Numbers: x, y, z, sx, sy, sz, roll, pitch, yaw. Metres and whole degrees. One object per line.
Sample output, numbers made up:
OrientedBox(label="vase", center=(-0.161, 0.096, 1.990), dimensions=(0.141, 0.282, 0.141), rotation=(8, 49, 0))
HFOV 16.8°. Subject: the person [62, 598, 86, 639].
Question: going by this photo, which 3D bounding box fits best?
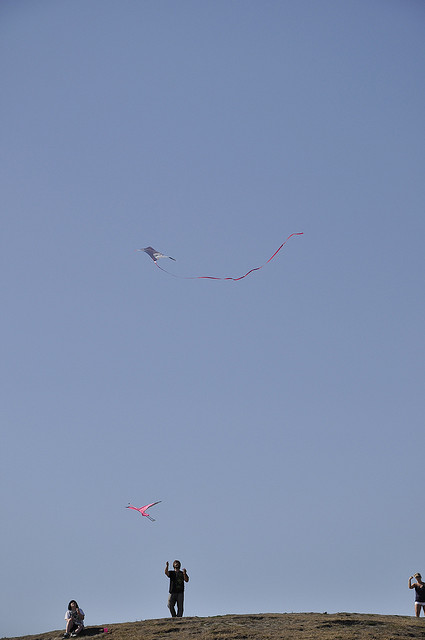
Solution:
OrientedBox(label="person", center=(-3.818, 8.271, 39.085), dimensions=(0.571, 1.159, 1.060), rotation=(6, -33, -6))
